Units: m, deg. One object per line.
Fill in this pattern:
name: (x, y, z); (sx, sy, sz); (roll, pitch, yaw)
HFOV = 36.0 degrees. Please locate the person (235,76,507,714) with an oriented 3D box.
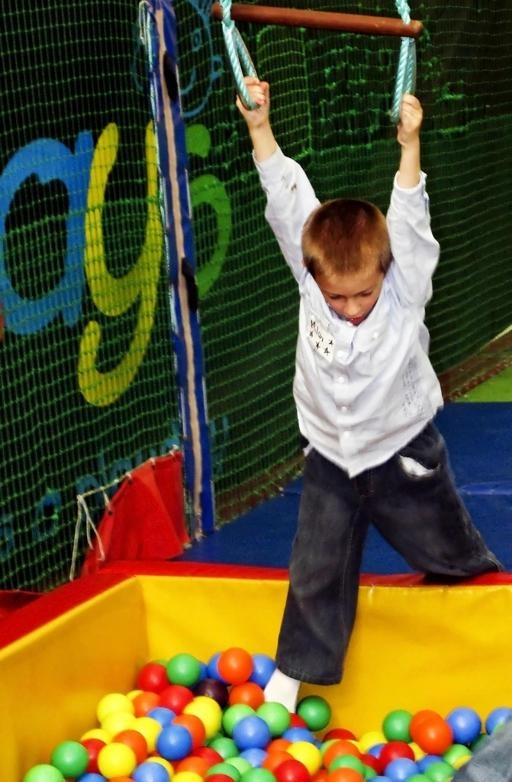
person: (0.244, 0.050, 1.498); (0.516, 1.178, 0.380); (-6, 28, -12)
